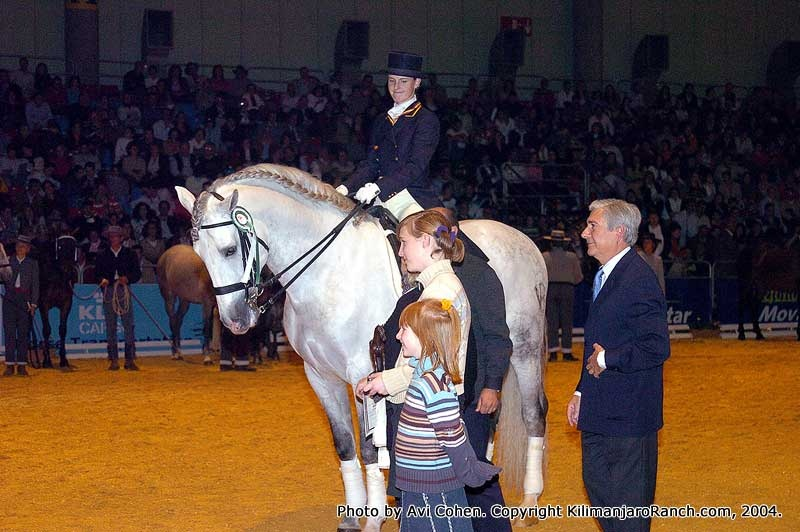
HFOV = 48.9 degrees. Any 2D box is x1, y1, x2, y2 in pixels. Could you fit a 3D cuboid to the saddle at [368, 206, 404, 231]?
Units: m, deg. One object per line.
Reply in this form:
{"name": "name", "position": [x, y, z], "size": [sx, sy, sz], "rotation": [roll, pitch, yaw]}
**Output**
{"name": "saddle", "position": [-0.213, -0.729, 12.285], "size": [0.425, 0.150, 0.307], "rotation": [39, 16, 16]}

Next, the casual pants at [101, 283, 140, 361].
{"name": "casual pants", "position": [-6.521, 1.349, 20.448], "size": [0.641, 1.980, 0.755], "rotation": [-4, 11, -21]}

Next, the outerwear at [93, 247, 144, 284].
{"name": "outerwear", "position": [-6.582, 0.007, 20.742], "size": [1.161, 0.935, 0.673], "rotation": [-2, -6, 6]}

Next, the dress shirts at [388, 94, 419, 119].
{"name": "dress shirts", "position": [0.054, -2.303, 12.575], "size": [0.287, 0.216, 0.387], "rotation": [-12, 17, 39]}

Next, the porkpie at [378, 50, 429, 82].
{"name": "porkpie", "position": [0.058, -2.793, 12.299], "size": [0.474, 0.355, 0.299], "rotation": [-1, 10, -7]}
